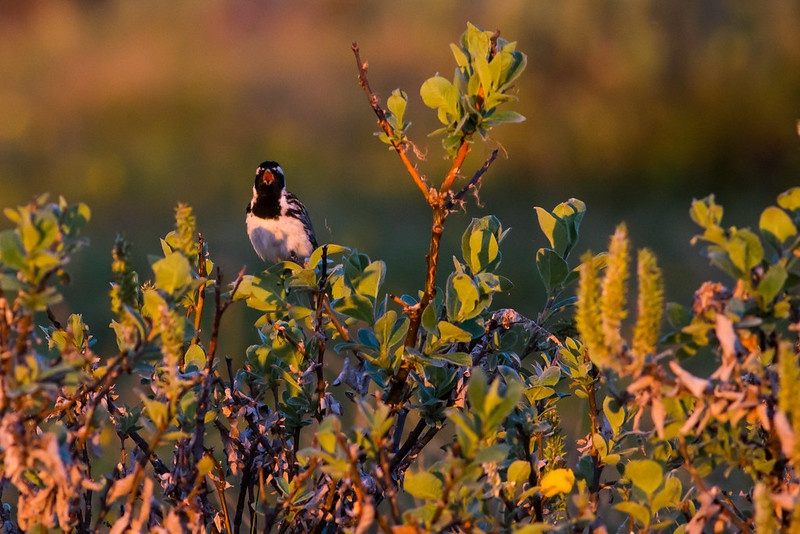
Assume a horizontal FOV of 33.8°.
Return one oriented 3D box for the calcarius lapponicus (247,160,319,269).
[{"bbox_3d":[-1.304,-0.626,14.165,0.712,1.209,0.413,-4,-13,-9],"label":"calcarius lapponicus"}]
